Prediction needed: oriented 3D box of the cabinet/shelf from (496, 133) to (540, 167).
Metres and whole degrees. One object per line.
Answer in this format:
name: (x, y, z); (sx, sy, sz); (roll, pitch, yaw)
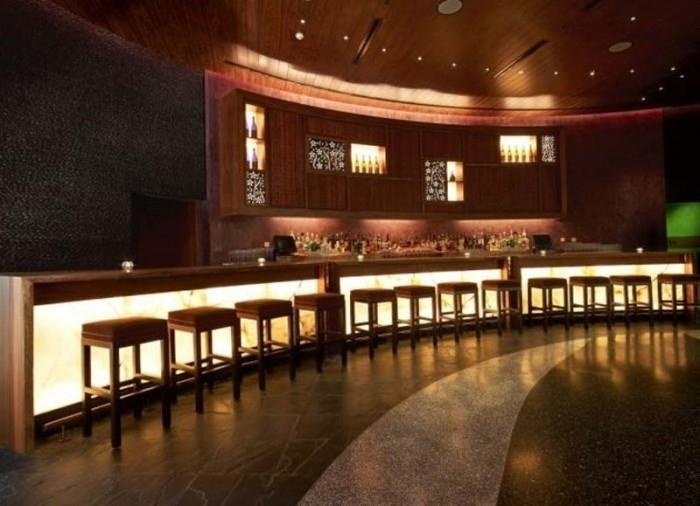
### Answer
cabinet/shelf: (3.164, -1.956, 9.796); (0.836, 0.653, 0.481); (1, -2, -3)

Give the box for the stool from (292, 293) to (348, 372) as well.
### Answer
stool: (-0.375, 0.951, 6.486); (0.609, 0.915, 0.636); (-3, 3, -16)

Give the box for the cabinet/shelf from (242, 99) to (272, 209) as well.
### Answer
cabinet/shelf: (-1.370, -1.412, 7.597); (0.339, 1.465, 0.427); (-3, 10, -8)

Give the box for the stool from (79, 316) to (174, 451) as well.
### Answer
stool: (-2.122, 1.172, 4.947); (0.717, 1.125, 0.722); (-2, 3, -34)

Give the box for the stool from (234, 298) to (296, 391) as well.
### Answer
stool: (-0.982, 1.026, 6.015); (0.669, 0.984, 0.701); (-2, 4, -9)

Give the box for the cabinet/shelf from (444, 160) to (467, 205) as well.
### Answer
cabinet/shelf: (1.913, -1.293, 9.460); (0.314, 0.721, 0.299); (1, 11, 11)

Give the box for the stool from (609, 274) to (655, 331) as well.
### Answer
stool: (4.454, 0.742, 8.202); (0.558, 0.768, 0.553); (-2, 0, 40)

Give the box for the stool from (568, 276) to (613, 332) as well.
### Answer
stool: (3.848, 0.764, 8.270); (0.880, 0.810, 0.904); (-1, -5, 37)

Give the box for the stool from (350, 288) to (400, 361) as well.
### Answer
stool: (0.316, 0.900, 6.965); (0.789, 0.838, 0.814); (0, 2, 35)

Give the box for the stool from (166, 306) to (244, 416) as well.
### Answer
stool: (-1.539, 1.083, 5.485); (0.587, 1.033, 0.617); (2, 5, 29)

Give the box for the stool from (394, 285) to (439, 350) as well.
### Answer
stool: (0.913, 0.881, 7.331); (0.649, 0.837, 0.711); (-1, -1, 8)

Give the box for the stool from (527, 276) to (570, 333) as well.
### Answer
stool: (3.062, 0.756, 8.062); (0.571, 0.728, 0.594); (-2, 0, 36)

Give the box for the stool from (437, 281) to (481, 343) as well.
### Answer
stool: (1.581, 0.833, 7.630); (0.590, 0.813, 0.600); (-2, 0, 40)

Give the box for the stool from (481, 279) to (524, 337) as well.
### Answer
stool: (2.310, 0.783, 7.905); (0.556, 0.776, 0.581); (1, 1, 31)

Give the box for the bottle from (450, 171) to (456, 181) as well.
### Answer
bottle: (1.863, -1.387, 9.439); (0.115, 0.233, 0.121); (2, 0, 0)

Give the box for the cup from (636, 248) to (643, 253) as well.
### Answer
cup: (4.837, -0.037, 8.681); (0.056, 0.068, 0.064); (5, 5, 40)

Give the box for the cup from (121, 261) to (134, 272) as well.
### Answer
cup: (-2.320, 0.144, 5.425); (0.094, 0.092, 0.094); (3, 11, -1)

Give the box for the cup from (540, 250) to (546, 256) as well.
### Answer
cup: (3.118, 0.004, 8.406); (0.084, 0.091, 0.088); (-2, 9, 0)

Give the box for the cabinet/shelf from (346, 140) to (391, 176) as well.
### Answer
cabinet/shelf: (0.303, -1.597, 8.766); (0.610, 0.554, 0.203); (0, 0, -32)

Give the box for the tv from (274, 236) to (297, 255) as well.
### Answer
tv: (-0.888, -0.091, 7.072); (0.080, 0.180, 0.238); (-14, -6, 29)
